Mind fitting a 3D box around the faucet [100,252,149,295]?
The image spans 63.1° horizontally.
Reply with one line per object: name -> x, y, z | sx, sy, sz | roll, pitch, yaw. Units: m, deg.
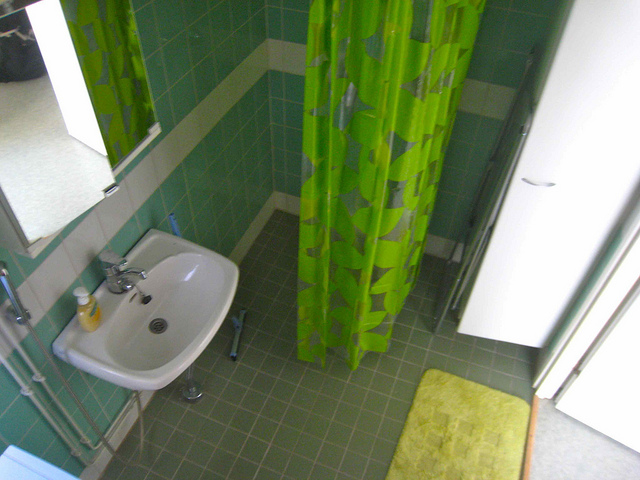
faucet -> -0.929, 0.169, 2.456 | 0.212, 0.160, 0.080 | 14, 46, 9
